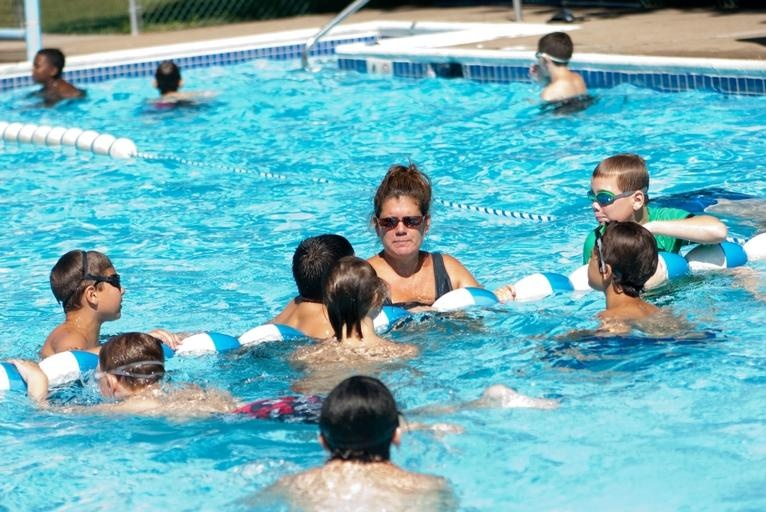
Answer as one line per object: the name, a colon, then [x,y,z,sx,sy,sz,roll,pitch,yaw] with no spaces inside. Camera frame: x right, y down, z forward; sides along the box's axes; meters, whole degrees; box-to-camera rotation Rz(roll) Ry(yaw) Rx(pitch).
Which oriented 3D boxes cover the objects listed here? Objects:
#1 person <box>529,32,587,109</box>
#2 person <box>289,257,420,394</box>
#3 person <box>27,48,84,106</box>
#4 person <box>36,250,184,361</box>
person: [2.232,-2.306,8.712,0.593,0.941,0.535,-3,12,14]
person: [-0.190,0.425,4.034,0.954,0.753,0.362,-6,51,0]
person: [-4.670,-2.543,10.068,0.788,0.599,0.982,-3,21,-43]
person: [-1.830,0.257,4.448,0.807,0.567,0.962,-15,19,-25]
